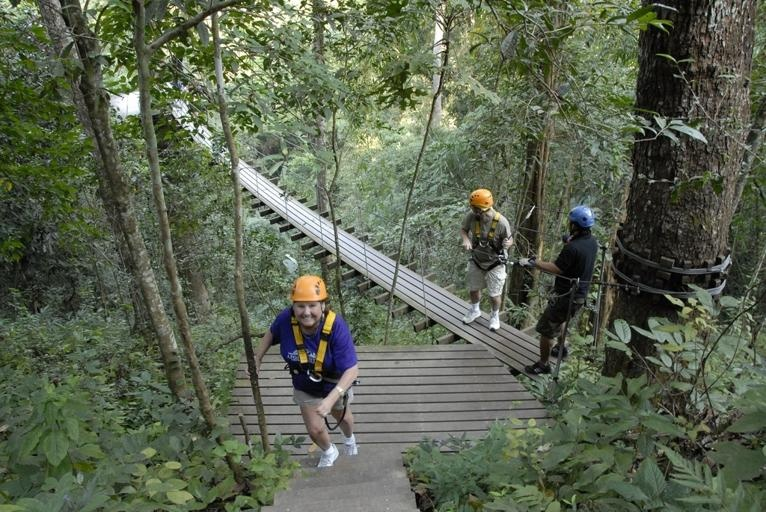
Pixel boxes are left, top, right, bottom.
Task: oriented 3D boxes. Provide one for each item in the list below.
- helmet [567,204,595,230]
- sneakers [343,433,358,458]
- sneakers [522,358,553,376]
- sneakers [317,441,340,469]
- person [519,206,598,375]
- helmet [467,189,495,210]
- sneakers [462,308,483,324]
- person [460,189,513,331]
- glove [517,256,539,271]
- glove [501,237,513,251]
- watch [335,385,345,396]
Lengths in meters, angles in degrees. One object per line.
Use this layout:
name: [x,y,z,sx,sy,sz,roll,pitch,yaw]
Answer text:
helmet: [2.175,-0.427,6.117,0.202,0.246,0.277,5,47,-1]
sneakers: [-0.310,1.859,5.475,0.093,0.103,0.254,-3,2,-10]
sneakers: [1.863,1.349,6.775,0.309,0.151,0.143,0,15,19]
sneakers: [-0.514,1.861,5.221,0.094,0.102,0.258,-14,13,24]
person: [2.036,0.448,6.292,0.835,1.974,1.348,-4,5,-1]
helmet: [1.254,-0.725,7.124,0.317,0.260,0.246,15,55,10]
sneakers: [1.244,0.828,7.757,0.313,0.139,0.132,-16,18,-40]
person: [1.355,0.089,7.356,0.547,1.891,0.889,-5,5,-12]
glove: [1.730,0.089,6.618,0.127,0.263,0.406,-4,-9,34]
glove: [1.592,-0.144,7.139,0.120,0.159,0.109,-5,28,-23]
watch: [-0.375,1.166,4.843,0.074,0.074,0.073,-21,14,-18]
